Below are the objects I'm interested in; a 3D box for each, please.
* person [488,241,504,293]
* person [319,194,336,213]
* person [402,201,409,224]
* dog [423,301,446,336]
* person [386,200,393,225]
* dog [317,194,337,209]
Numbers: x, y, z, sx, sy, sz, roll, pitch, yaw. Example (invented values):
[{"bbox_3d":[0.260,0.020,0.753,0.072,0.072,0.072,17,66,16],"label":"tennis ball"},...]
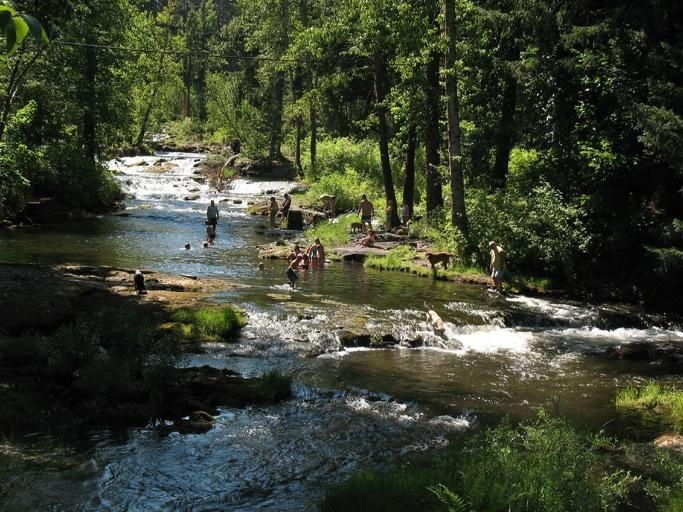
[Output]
[{"bbox_3d":[5.383,0.338,22.687,0.647,1.627,0.689,8,8,13],"label":"person"},{"bbox_3d":[-0.757,-3.079,38.140,0.912,1.181,1.013,-2,-5,-16],"label":"person"},{"bbox_3d":[3.478,-2.336,35.035,0.433,1.108,1.343,7,8,5],"label":"person"},{"bbox_3d":[2.711,1.822,18.530,0.237,0.572,1.055,-7,28,-8],"label":"dog"},{"bbox_3d":[2.559,-2.255,34.541,0.397,1.383,1.576,7,8,4],"label":"person"},{"bbox_3d":[-0.826,-3.268,38.802,0.892,0.590,1.226,1,-6,-5],"label":"dog"}]
